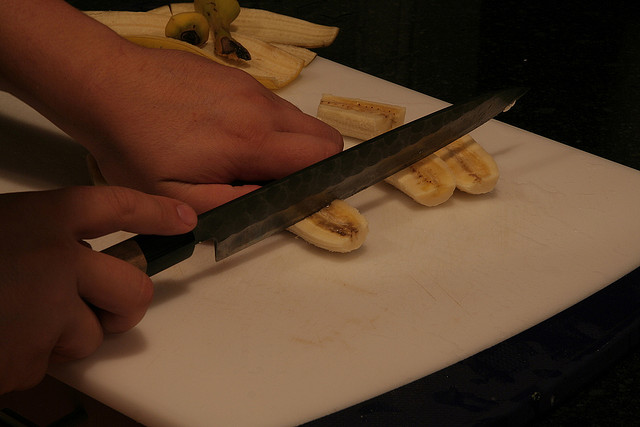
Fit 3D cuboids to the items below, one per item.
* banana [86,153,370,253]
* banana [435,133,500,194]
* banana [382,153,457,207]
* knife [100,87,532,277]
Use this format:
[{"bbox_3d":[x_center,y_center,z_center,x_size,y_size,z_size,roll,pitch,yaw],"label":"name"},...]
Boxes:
[{"bbox_3d":[-0.184,-0.015,1.113,0.466,0.122,0.101,10,22,9],"label":"banana"},{"bbox_3d":[0.343,-0.107,1.247,0.093,0.033,0.156,-24,56,-3],"label":"banana"},{"bbox_3d":[0.227,-0.074,1.226,0.146,0.036,0.094,20,73,17],"label":"banana"},{"bbox_3d":[-0.024,-0.052,1.174,0.924,0.099,0.079,-23,32,-21],"label":"knife"}]
